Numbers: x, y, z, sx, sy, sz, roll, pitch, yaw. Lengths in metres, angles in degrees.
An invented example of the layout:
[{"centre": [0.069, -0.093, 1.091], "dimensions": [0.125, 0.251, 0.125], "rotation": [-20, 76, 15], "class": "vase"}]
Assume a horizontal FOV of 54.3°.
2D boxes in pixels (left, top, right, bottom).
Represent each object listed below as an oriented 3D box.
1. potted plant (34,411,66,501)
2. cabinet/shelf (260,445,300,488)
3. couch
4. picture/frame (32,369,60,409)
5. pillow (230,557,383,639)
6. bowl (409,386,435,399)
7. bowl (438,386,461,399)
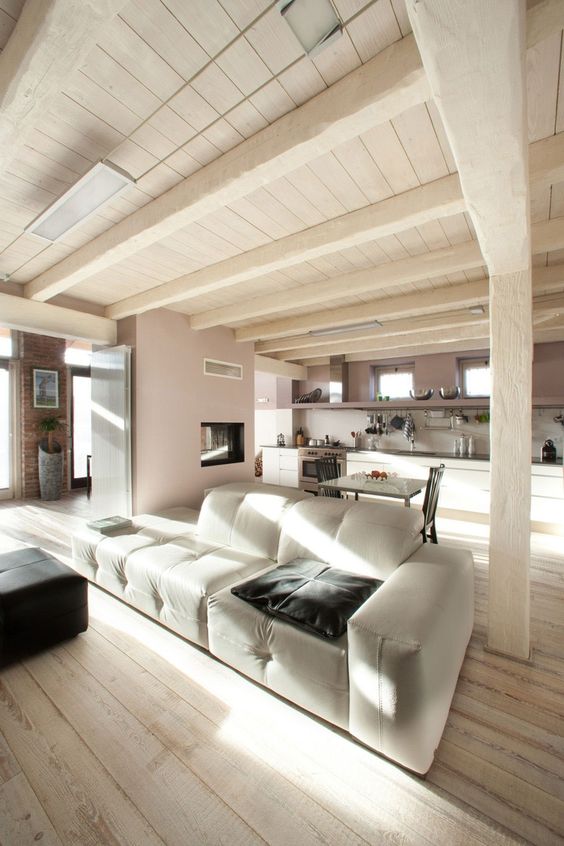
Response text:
[{"centre": [-3.021, 0.474, 7.146], "dimensions": [0.322, 1.071, 0.740], "rotation": [-3, 10, -21], "class": "potted plant"}, {"centre": [-0.005, 0.584, 7.460], "dimensions": [0.533, 0.471, 0.185], "rotation": [2, 4, 43], "class": "cabinet/shelf"}, {"centre": [-0.026, 0.771, 2.820], "dimensions": [2.094, 0.640, 0.911], "rotation": [9, 13, 42], "class": "couch"}, {"centre": [-3.126, -0.445, 7.206], "dimensions": [0.041, 0.616, 0.503], "rotation": [-2, -3, 20], "class": "picture/frame"}, {"centre": [0.143, 0.737, 2.453], "dimensions": [0.640, 0.094, 0.541], "rotation": [9, 13, 43], "class": "pillow"}, {"centre": [1.623, -0.324, 6.376], "dimensions": [0.250, 0.141, 0.251], "rotation": [0, 10, 0], "class": "bowl"}, {"centre": [1.864, -0.334, 6.151], "dimensions": [0.140, 0.087, 0.145], "rotation": [-1, -3, 0], "class": "bowl"}]
